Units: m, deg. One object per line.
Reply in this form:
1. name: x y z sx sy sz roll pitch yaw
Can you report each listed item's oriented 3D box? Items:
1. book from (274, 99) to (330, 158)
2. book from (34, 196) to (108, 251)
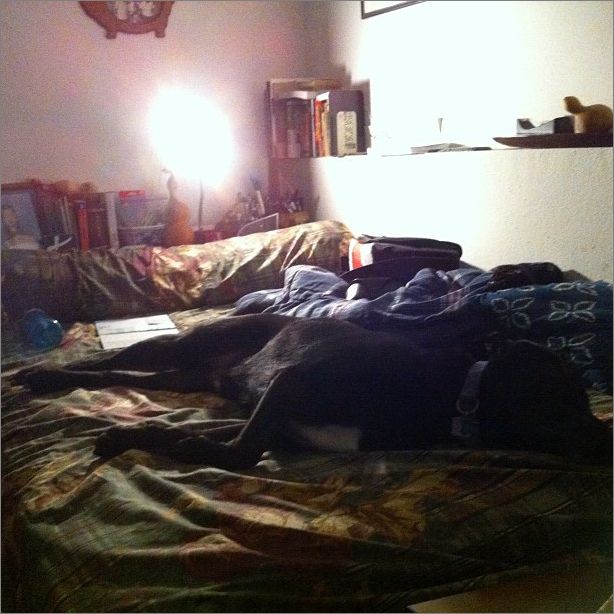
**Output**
1. book: -0.014 -0.985 3.191 0.308 0.292 0.471 -6 14 -20
2. book: -1.224 -0.504 3.216 0.421 0.325 0.403 -8 16 -26
